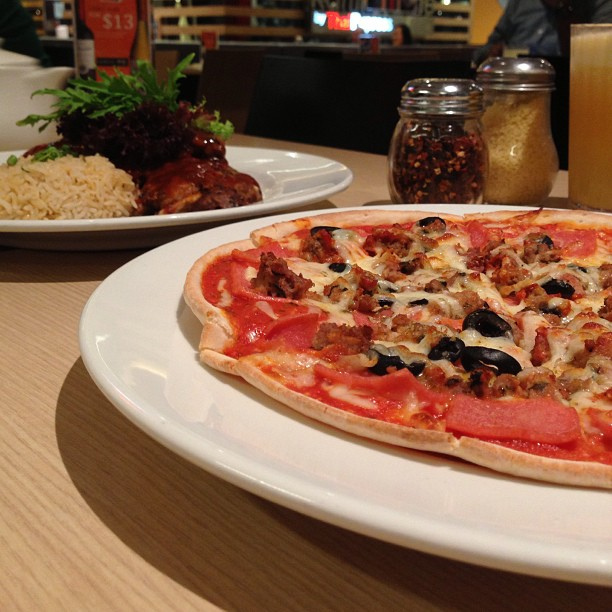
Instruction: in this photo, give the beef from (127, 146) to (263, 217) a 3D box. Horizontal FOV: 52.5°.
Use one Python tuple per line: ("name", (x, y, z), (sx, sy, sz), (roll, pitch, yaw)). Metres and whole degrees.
("beef", (-0.293, -0.320, 1.662), (0.351, 0.137, 0.245), (-2, 19, -12))
